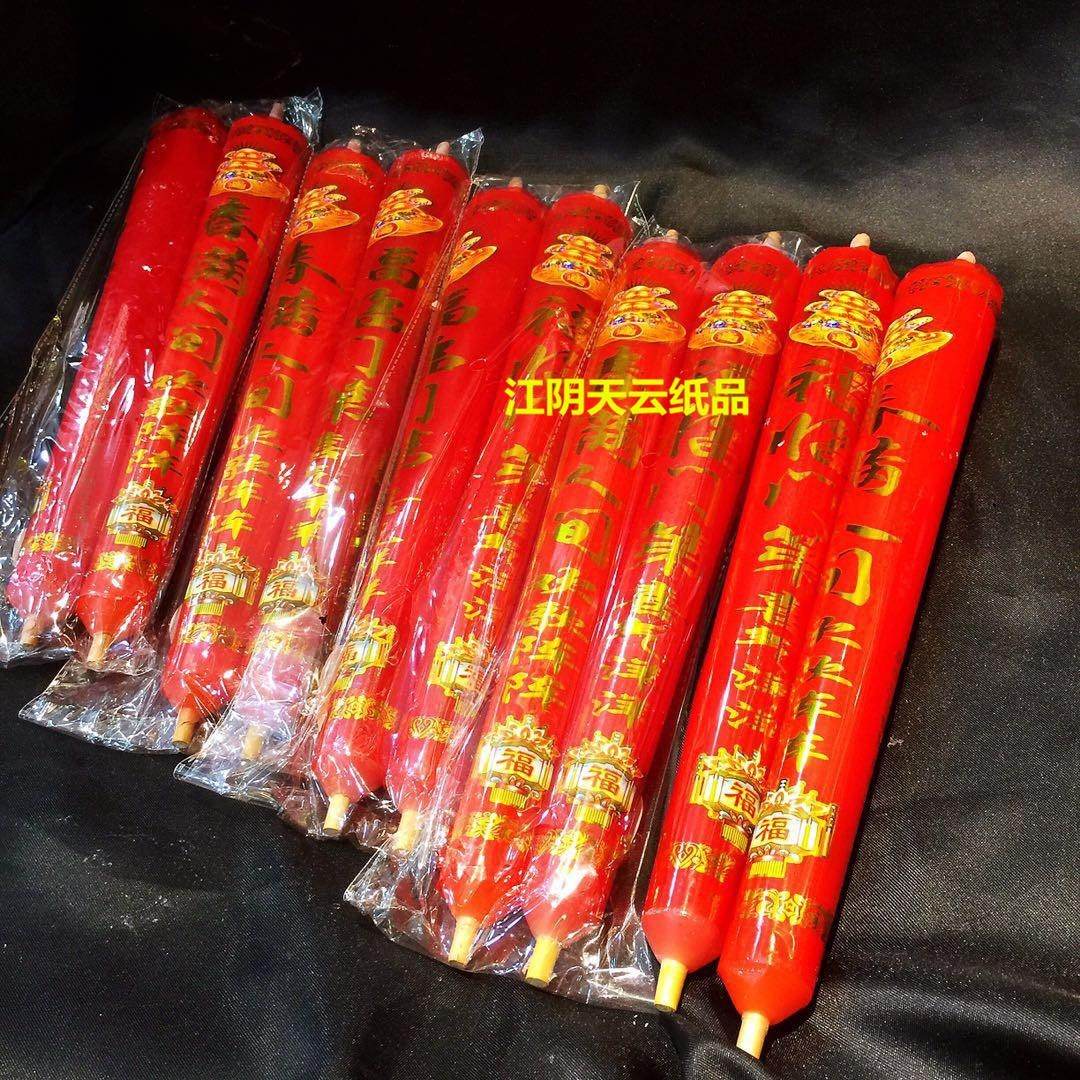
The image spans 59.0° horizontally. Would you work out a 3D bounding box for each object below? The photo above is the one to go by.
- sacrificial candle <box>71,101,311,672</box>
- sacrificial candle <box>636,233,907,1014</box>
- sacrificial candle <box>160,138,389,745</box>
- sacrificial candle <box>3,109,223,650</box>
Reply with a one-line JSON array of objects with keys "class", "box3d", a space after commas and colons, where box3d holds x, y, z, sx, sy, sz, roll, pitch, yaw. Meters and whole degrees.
[{"class": "sacrificial candle", "box3d": [-0.402, -0.182, 1.169, 0.118, 0.125, 0.906, 11, 73, -6]}, {"class": "sacrificial candle", "box3d": [0.258, -0.094, 1.000, 0.134, 0.139, 1.043, 20, 71, -20]}, {"class": "sacrificial candle", "box3d": [-0.296, -0.135, 1.135, 0.120, 0.127, 0.925, 11, 71, -6]}, {"class": "sacrificial candle", "box3d": [-0.500, -0.196, 1.187, 0.114, 0.121, 0.876, 12, 72, -12]}]
